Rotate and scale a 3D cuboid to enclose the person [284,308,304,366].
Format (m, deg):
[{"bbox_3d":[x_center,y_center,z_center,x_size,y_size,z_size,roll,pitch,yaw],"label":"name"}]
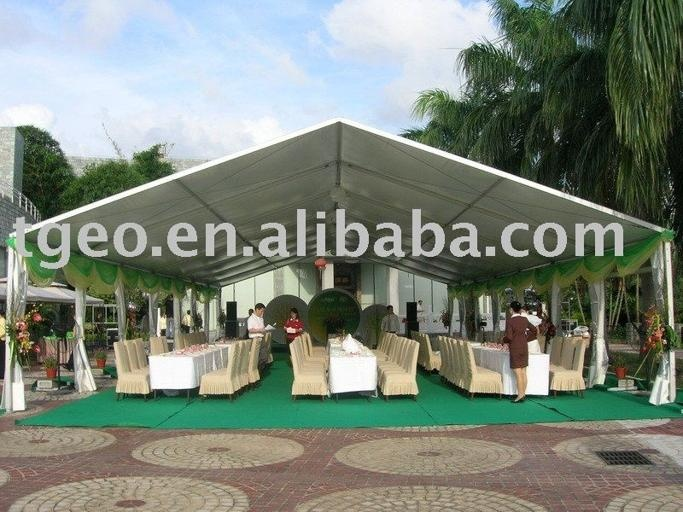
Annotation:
[{"bbox_3d":[-1.292,2.185,16.092,0.508,1.592,0.417,8,24,11],"label":"person"}]

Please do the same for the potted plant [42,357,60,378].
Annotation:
[{"bbox_3d":[-6.438,2.447,12.846,0.271,0.502,0.457,-1,0,-29],"label":"potted plant"}]

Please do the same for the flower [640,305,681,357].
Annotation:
[{"bbox_3d":[5.971,1.387,10.696,0.530,0.852,0.706,0,0,33],"label":"flower"}]

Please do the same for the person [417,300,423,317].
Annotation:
[{"bbox_3d":[3.905,2.473,27.731,0.254,0.777,1.187,0,0,8],"label":"person"}]

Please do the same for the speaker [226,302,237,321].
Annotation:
[{"bbox_3d":[-3.934,1.945,20.772,0.300,0.595,0.485,0,0,-19],"label":"speaker"}]

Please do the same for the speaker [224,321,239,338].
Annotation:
[{"bbox_3d":[-3.880,2.538,20.430,0.445,1.022,0.541,0,0,-6],"label":"speaker"}]

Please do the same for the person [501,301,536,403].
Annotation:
[{"bbox_3d":[3.529,1.813,11.271,0.495,1.872,0.850,0,1,25],"label":"person"}]
